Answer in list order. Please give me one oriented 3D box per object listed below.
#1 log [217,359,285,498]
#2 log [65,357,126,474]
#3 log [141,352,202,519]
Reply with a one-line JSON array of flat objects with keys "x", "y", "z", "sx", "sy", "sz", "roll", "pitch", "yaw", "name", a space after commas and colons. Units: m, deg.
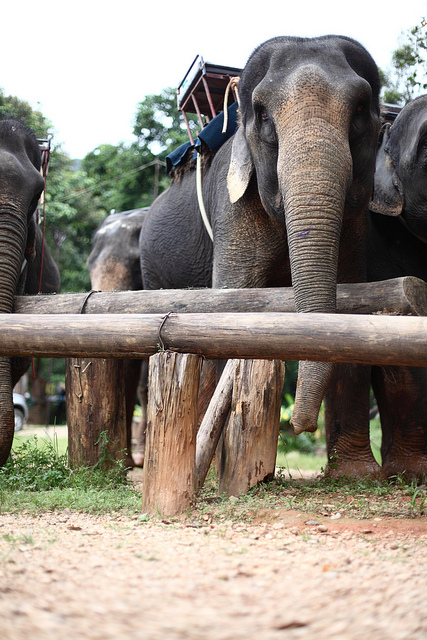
[{"x": 0.184, "y": 0.528, "z": 3.904, "sx": 0.333, "sy": 0.669, "sz": 0.323, "roll": 0, "pitch": -4, "yaw": 3, "name": "log"}, {"x": -0.656, "y": 0.530, "z": 4.442, "sx": 0.334, "sy": 0.634, "sz": 0.349, "roll": 0, "pitch": -4, "yaw": -9, "name": "log"}, {"x": -0.175, "y": 0.481, "z": 3.335, "sx": 0.245, "sy": 0.687, "sz": 0.199, "roll": 0, "pitch": -4, "yaw": -5, "name": "log"}]
